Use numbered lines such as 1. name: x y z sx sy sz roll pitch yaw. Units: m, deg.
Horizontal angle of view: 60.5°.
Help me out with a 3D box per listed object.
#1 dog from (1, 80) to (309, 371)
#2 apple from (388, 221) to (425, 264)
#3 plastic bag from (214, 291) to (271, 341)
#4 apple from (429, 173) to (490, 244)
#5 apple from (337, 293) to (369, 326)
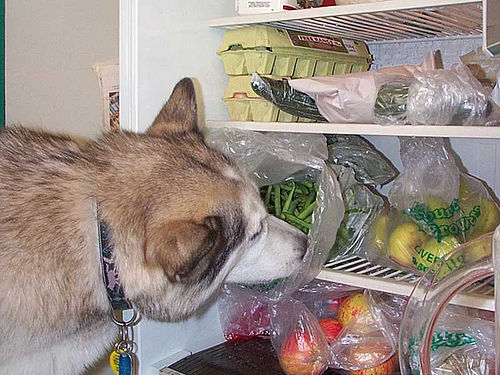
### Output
1. dog: -0.252 0.055 1.090 0.759 0.564 0.402 9 45 -31
2. apple: 0.418 0.149 1.175 0.052 0.099 0.085 22 50 2
3. plastic bag: -0.018 0.438 1.596 0.243 0.275 0.079 -5 14 -3
4. apple: 0.562 0.054 1.134 0.153 0.211 0.066 11 -20 23
5. apple: 0.314 0.365 1.316 0.086 0.087 0.066 -13 14 -22
